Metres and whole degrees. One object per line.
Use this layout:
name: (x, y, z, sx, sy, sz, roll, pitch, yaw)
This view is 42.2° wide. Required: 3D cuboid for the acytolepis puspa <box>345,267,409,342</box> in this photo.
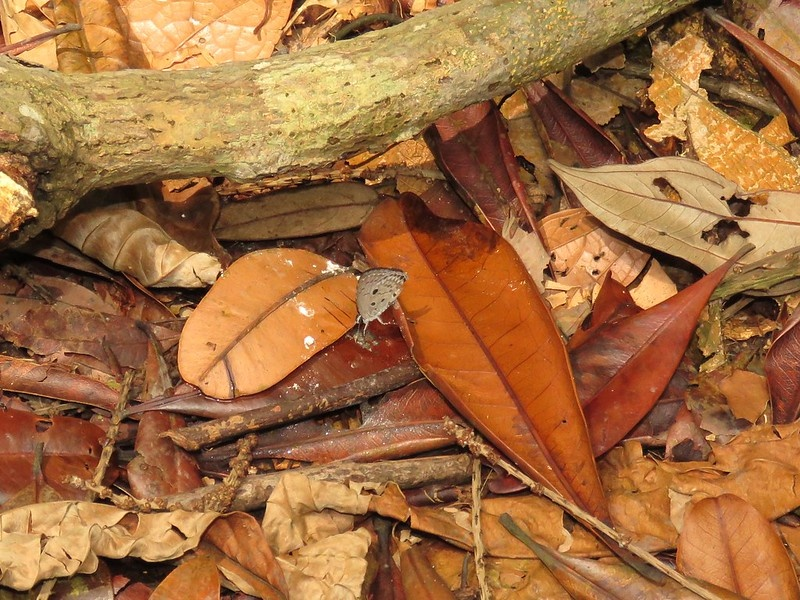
acytolepis puspa: (-0.076, 0.004, 2.931, 0.060, 0.168, 0.157, 4, 21, -44)
